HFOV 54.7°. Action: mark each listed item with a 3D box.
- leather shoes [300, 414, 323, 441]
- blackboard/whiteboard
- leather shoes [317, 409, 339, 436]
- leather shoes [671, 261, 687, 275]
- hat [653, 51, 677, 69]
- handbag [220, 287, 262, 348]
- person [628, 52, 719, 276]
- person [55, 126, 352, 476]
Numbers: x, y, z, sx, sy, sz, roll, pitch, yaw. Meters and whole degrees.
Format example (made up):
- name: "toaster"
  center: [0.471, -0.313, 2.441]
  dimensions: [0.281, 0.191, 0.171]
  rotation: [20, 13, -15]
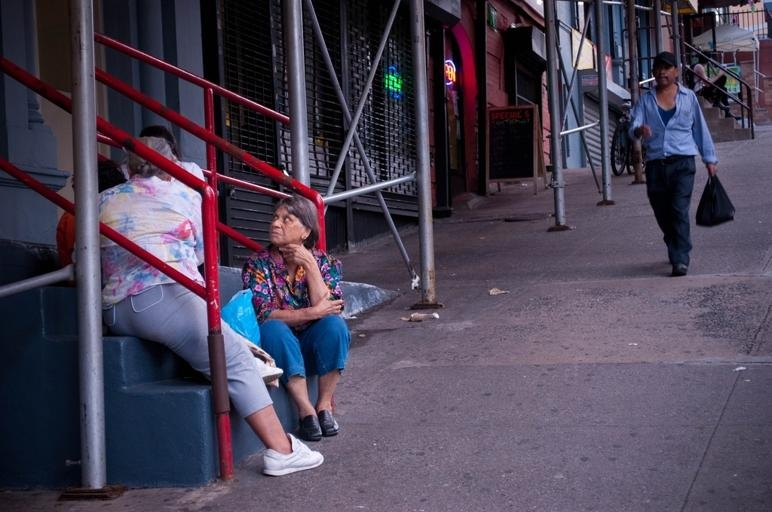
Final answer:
- name: "leather shoes"
  center: [-0.455, 1.051, 4.555]
  dimensions: [0.085, 0.082, 0.195]
  rotation: [0, 1, -9]
- name: "blackboard/whiteboard"
  center: [2.658, -2.370, 15.691]
  dimensions: [1.059, 1.495, 0.702]
  rotation: [-3, 12, 14]
- name: "leather shoes"
  center: [-0.354, 1.024, 4.643]
  dimensions: [0.077, 0.074, 0.211]
  rotation: [-3, 9, -12]
- name: "leather shoes"
  center: [2.874, 0.126, 7.309]
  dimensions: [0.122, 0.108, 0.221]
  rotation: [1, 13, 28]
- name: "hat"
  center: [2.927, -2.057, 7.790]
  dimensions: [0.185, 0.131, 0.256]
  rotation: [0, -10, 27]
- name: "handbag"
  center: [-0.874, 0.362, 4.562]
  dimensions: [0.096, 0.300, 0.280]
  rotation: [-14, 28, 46]
- name: "person"
  center: [3.026, -1.067, 7.692]
  dimensions: [0.817, 2.022, 0.935]
  rotation: [-6, 12, 0]
- name: "person"
  center: [-1.087, 0.286, 4.421]
  dimensions: [1.202, 1.800, 0.704]
  rotation: [-2, 12, 15]
